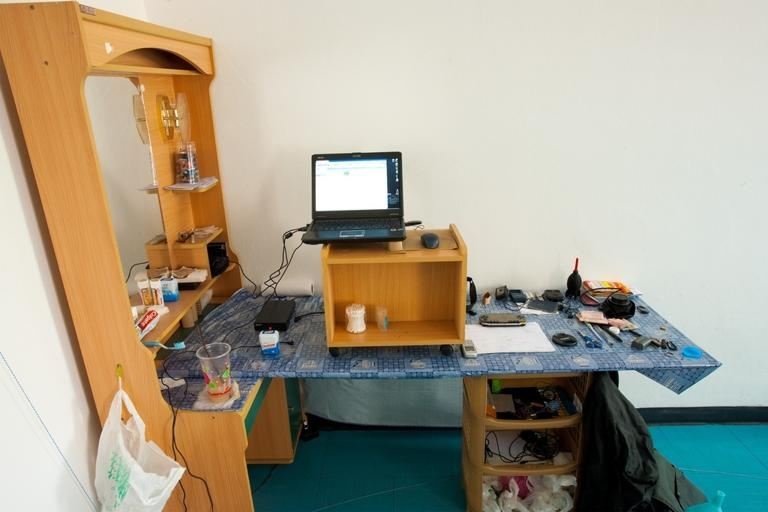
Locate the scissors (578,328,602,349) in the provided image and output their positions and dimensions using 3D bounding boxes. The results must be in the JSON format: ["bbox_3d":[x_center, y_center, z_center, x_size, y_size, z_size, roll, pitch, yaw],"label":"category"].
[{"bbox_3d":[1.114,0.445,2.787,0.063,0.018,0.132,-8,14,-1],"label":"scissors"}]

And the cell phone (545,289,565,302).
[{"bbox_3d":[1.046,0.232,3.171,0.085,0.025,0.080,3,19,8],"label":"cell phone"}]

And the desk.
[{"bbox_3d":[0.054,0.180,2.699,0.701,0.535,0.352,-1,20,0],"label":"desk"}]

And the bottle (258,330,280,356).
[{"bbox_3d":[-0.594,0.455,2.711,0.127,0.141,0.090,-1,12,-4],"label":"bottle"}]

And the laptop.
[{"bbox_3d":[-0.132,-0.334,2.734,0.639,0.457,0.481,0,24,1],"label":"laptop"}]

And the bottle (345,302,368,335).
[{"bbox_3d":[-0.112,0.327,2.744,0.149,0.141,0.139,0,17,3],"label":"bottle"}]

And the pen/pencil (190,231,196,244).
[{"bbox_3d":[-1.078,-0.110,2.947,0.031,0.079,0.028,16,48,2],"label":"pen/pencil"}]

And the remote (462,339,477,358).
[{"bbox_3d":[0.452,0.479,2.695,0.053,0.023,0.103,0,22,3],"label":"remote"}]

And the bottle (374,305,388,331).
[{"bbox_3d":[-0.008,0.328,2.768,0.119,0.129,0.038,12,23,37],"label":"bottle"}]
